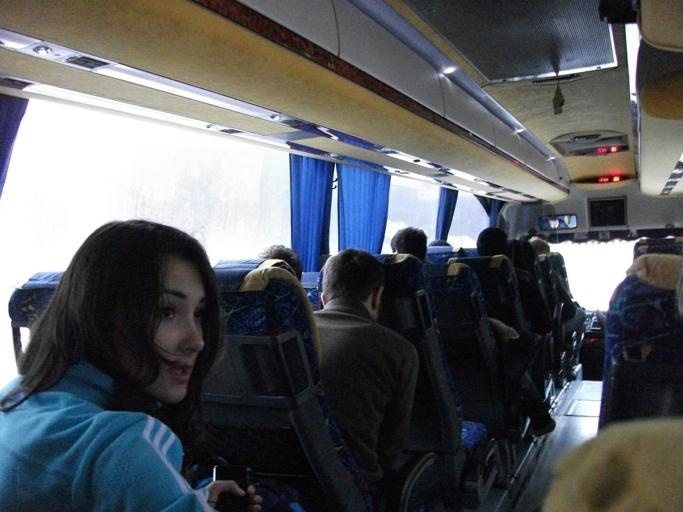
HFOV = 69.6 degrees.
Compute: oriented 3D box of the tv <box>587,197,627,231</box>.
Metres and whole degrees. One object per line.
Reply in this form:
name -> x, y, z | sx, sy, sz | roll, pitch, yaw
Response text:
tv -> 5.990, -0.990, 11.030 | 0.771, 0.707, 0.099 | 2, -3, 26
